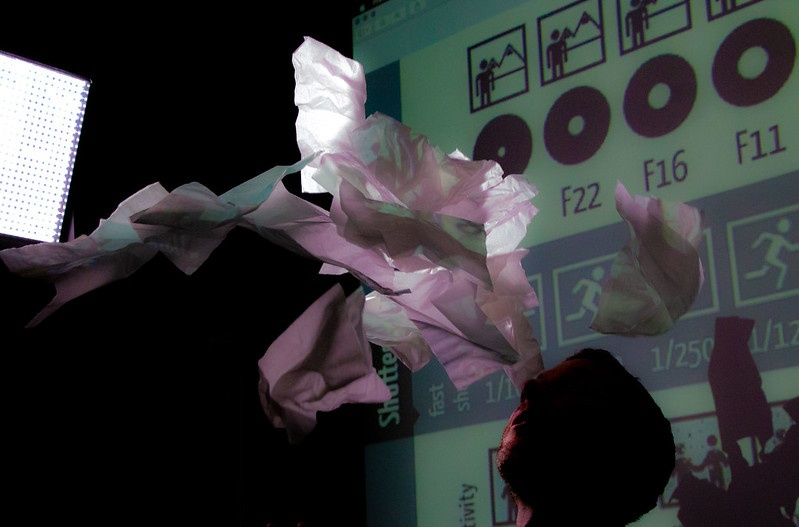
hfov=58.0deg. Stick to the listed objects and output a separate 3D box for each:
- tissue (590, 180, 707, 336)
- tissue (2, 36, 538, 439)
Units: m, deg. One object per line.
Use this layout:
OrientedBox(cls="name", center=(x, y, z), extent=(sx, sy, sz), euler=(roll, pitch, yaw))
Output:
OrientedBox(cls="tissue", center=(0.374, -0.001, 1.027), extent=(0.163, 0.176, 0.158), euler=(2, 3, -3))
OrientedBox(cls="tissue", center=(-0.157, 0.033, 1.064), extent=(0.669, 0.330, 0.646), euler=(2, 22, -16))
